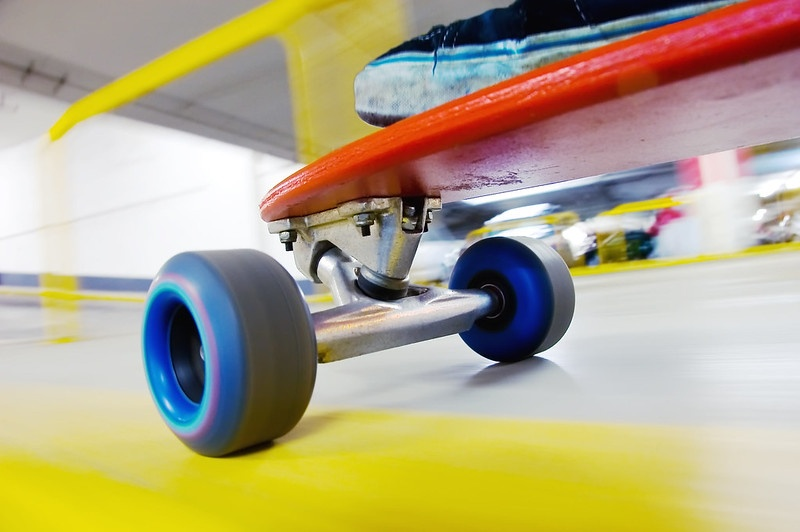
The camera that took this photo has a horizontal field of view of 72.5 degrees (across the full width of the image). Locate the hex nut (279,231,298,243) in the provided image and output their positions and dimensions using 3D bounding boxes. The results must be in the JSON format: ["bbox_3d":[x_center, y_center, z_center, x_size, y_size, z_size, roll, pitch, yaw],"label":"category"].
[{"bbox_3d":[-0.286,-0.069,1.402,0.035,0.039,0.033,-7,-14,-2],"label":"hex nut"}]
